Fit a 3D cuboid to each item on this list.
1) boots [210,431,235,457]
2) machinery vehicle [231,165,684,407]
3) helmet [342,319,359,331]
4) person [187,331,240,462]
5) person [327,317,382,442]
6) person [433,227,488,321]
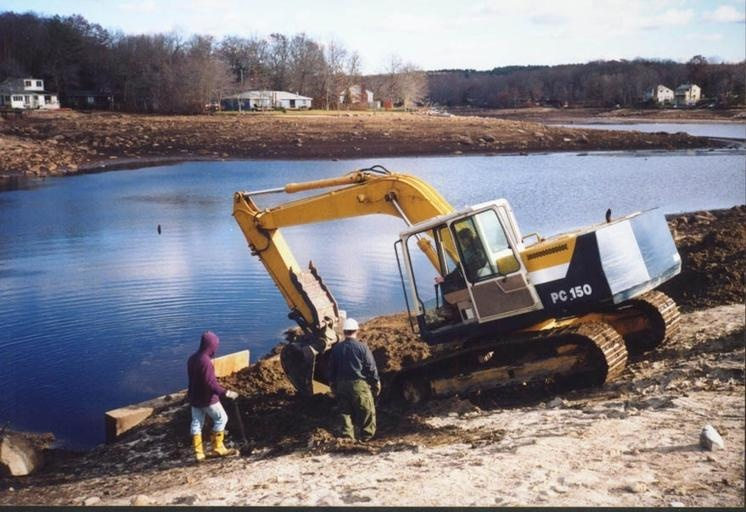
[{"bbox_3d":[-2.762,3.343,11.777,0.589,0.521,0.306,0,1,-7],"label":"boots"},{"bbox_3d":[2.571,-0.156,15.621,8.477,4.481,8.251,-5,7,23],"label":"machinery vehicle"},{"bbox_3d":[-0.406,1.248,11.847,0.254,0.154,0.307,0,-6,0],"label":"helmet"},{"bbox_3d":[-3.034,2.437,11.827,0.839,1.510,1.278,-11,7,-18],"label":"person"},{"bbox_3d":[-0.347,2.195,11.605,0.855,2.096,0.634,-9,7,-6],"label":"person"},{"bbox_3d":[1.636,0.325,12.073,0.988,1.783,0.238,-4,8,36],"label":"person"}]
